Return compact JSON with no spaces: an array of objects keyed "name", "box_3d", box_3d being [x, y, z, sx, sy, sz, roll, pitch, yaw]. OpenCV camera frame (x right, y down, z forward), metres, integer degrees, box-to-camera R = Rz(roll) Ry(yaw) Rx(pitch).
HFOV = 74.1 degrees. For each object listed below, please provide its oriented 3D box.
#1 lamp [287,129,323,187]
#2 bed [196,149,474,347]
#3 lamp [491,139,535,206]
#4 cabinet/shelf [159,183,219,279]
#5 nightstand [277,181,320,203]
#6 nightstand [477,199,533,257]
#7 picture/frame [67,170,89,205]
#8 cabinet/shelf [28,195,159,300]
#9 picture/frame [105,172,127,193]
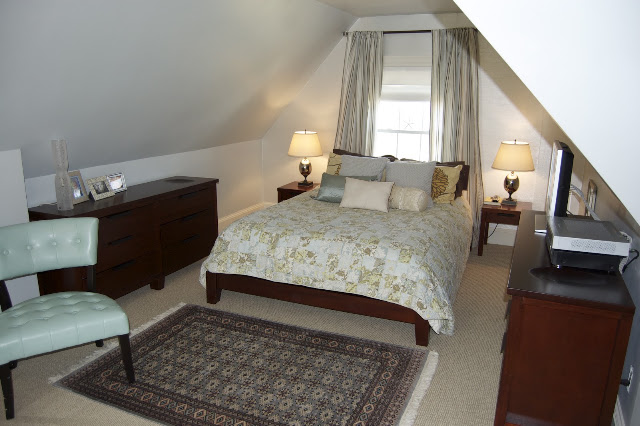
[{"name":"lamp","box_3d":[-0.188,-0.740,5.765,0.464,0.714,0.465,0,14,-4]},{"name":"bed","box_3d":[0.580,0.297,4.457,1.890,0.966,2.462,4,11,29]},{"name":"lamp","box_3d":[2.251,-0.478,4.931,0.410,0.719,0.516,10,15,26]},{"name":"cabinet/shelf","box_3d":[-1.365,0.182,4.349,0.461,0.777,0.790,4,16,21]},{"name":"nightstand","box_3d":[-0.320,-0.303,5.536,0.355,0.274,0.351,11,20,31]},{"name":"nightstand","box_3d":[2.192,0.194,5.048,0.491,0.518,0.523,7,10,23]},{"name":"picture/frame","box_3d":[-2.152,-0.216,3.767,0.019,0.281,0.246,-11,18,16]},{"name":"cabinet/shelf","box_3d":[-2.002,0.345,3.910,0.542,0.946,1.001,5,12,19]},{"name":"picture/frame","box_3d":[-1.981,-0.296,4.151,0.048,0.187,0.178,-4,3,35]}]
